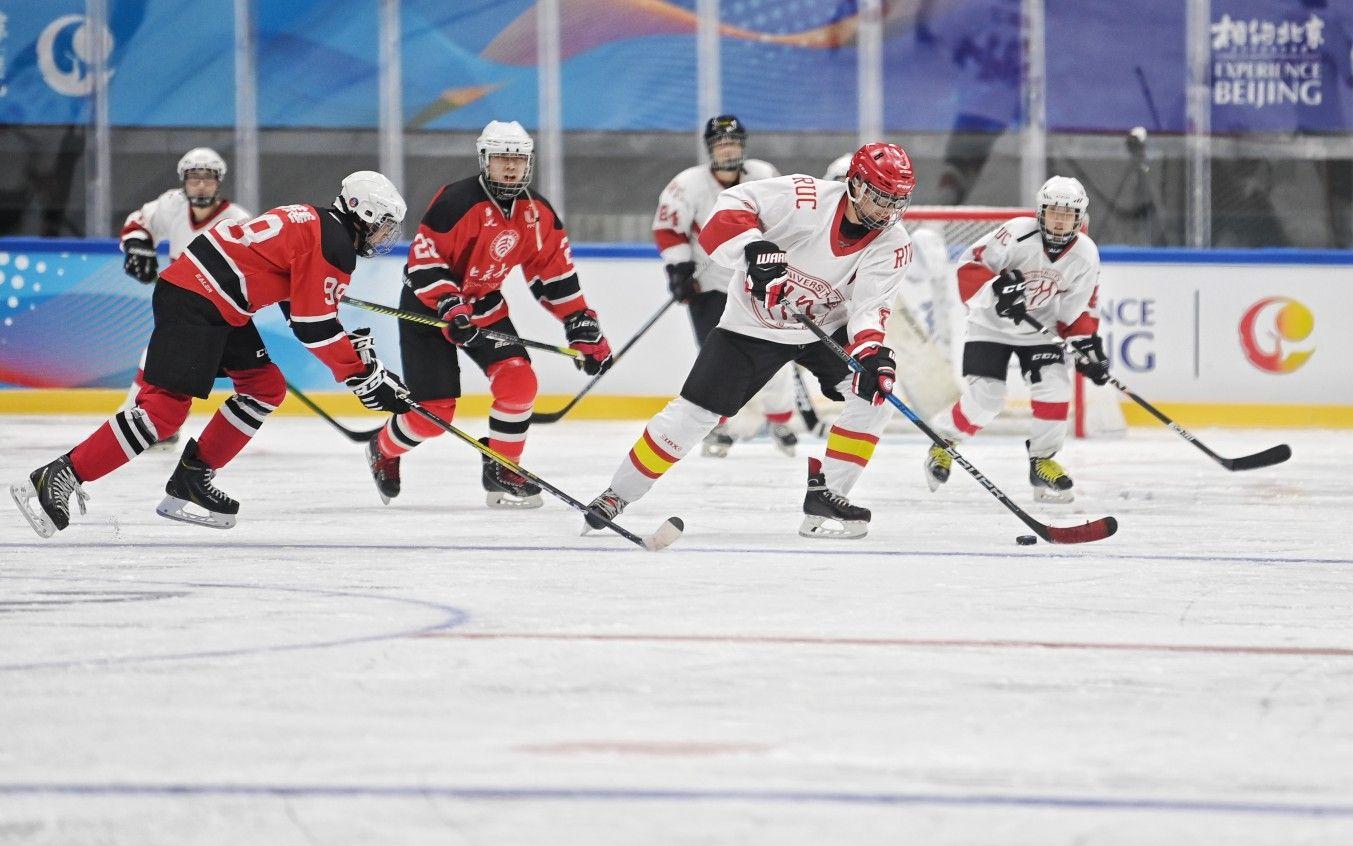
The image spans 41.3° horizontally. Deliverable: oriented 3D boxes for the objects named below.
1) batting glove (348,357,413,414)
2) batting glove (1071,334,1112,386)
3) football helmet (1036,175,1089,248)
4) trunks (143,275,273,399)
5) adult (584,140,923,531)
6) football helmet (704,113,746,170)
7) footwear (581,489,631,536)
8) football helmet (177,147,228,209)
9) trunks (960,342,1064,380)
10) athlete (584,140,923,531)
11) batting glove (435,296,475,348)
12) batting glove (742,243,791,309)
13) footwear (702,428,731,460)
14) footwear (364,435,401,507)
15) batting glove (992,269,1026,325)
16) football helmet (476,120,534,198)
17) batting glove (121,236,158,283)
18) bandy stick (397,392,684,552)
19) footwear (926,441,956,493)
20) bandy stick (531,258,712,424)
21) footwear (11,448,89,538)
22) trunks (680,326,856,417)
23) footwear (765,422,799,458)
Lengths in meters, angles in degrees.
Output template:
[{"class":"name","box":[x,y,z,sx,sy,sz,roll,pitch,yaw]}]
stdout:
[{"class":"batting glove","box":[-1.064,-0.113,6.362,0.224,0.163,0.088,32,-50,-14]},{"class":"batting glove","box":[1.726,-0.266,7.492,0.210,0.187,0.070,11,-33,-13]},{"class":"football helmet","box":[1.579,-0.873,7.378,0.224,0.248,0.262,8,9,8]},{"class":"trunks","box":[-1.632,-0.301,6.240,0.302,0.413,0.639,-5,-4,28]},{"class":"adult","box":[0.260,-0.270,6.279,1.091,1.399,0.908,4,5,-14]},{"class":"football helmet","box":[0.209,-1.268,8.122,0.241,0.267,0.293,-2,1,-4]},{"class":"footwear","box":[-0.266,0.302,6.285,0.109,0.082,0.256,-30,3,29]},{"class":"football helmet","box":[-2.171,-1.169,8.381,0.304,0.297,0.336,1,-5,-8]},{"class":"trunks","box":[1.397,-0.269,7.481,0.291,0.097,0.208,-2,-1,27]},{"class":"athlete","box":[0.269,-0.281,6.286,1.073,1.409,0.927,5,4,-13]},{"class":"batting glove","box":[-0.798,-0.365,6.592,0.091,0.132,0.193,-23,30,-22]},{"class":"batting glove","box":[0.306,-0.511,6.137,0.161,0.204,0.085,-6,6,6]},{"class":"footwear","box":[0.201,0.095,8.472,0.133,0.131,0.154,1,4,3]},{"class":"footwear","box":[-1.113,0.186,6.890,0.128,0.270,0.114,-14,7,21]},{"class":"batting glove","box":[1.350,-0.523,7.340,0.204,0.184,0.063,3,0,43]},{"class":"football helmet","box":[-0.637,-0.980,6.696,0.190,0.285,0.272,0,12,-4]},{"class":"batting glove","box":[-2.541,-0.766,8.518,0.194,0.210,0.096,2,-12,-7]},{"class":"bandy stick","box":[-0.555,0.207,7.057,1.011,0.138,0.112,29,-21,23]},{"class":"footwear","box":[1.056,0.176,7.157,0.071,0.145,0.201,33,30,-27]},{"class":"bandy stick","box":[-0.260,-0.367,8.656,0.171,1.140,0.195,23,-32,31]},{"class":"footwear","box":[-2.148,0.240,6.110,0.110,0.218,0.320,9,-25,19]},{"class":"trunks","box":[0.266,-0.198,6.735,0.418,0.346,1.051,-3,0,-18]},{"class":"footwear","box":[0.506,0.081,8.650,0.049,0.141,0.100,-38,-13,1]}]
